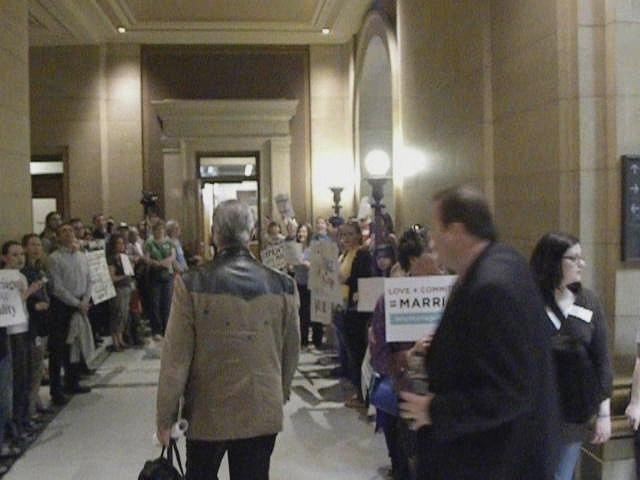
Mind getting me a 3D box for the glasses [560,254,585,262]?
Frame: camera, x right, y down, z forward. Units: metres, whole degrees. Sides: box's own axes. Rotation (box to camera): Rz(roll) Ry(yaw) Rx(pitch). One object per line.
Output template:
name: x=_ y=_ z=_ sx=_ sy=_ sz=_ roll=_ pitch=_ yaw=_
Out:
glasses: x=1.518 y=0.113 z=3.519 sx=0.085 sy=0.030 sz=0.092 roll=3 pitch=-9 yaw=-8
